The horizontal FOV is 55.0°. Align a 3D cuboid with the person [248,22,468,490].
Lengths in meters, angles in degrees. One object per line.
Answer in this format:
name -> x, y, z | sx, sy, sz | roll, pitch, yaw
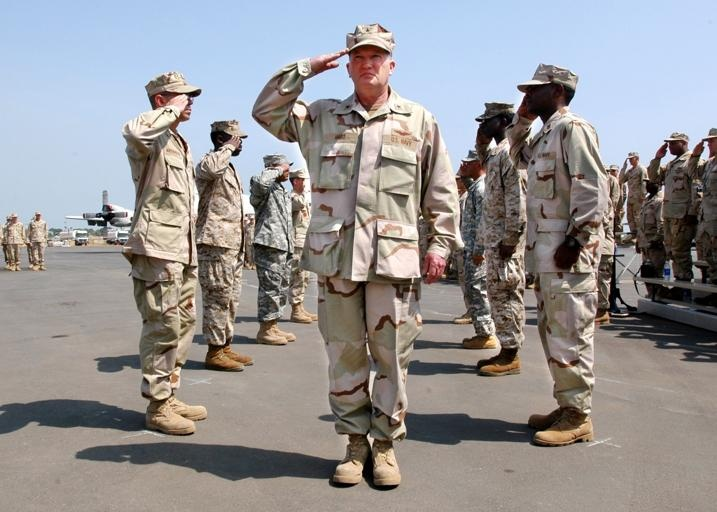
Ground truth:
person -> 0.044, -0.036, 5.173 | 1.425, 3.346, 0.871 | 1, 9, 6
